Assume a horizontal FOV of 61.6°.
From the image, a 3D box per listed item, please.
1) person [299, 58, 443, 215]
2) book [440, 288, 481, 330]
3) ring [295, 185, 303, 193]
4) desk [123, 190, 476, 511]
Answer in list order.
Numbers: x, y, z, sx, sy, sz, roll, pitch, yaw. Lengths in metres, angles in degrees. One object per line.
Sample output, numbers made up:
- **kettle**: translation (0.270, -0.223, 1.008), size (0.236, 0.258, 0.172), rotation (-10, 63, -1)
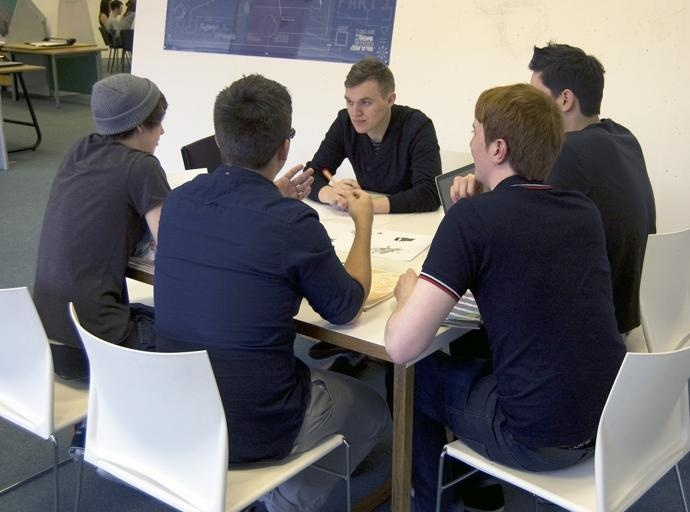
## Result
- **person**: translation (0.154, -0.652, 2.993), size (0.805, 0.696, 0.731), rotation (12, 27, 32)
- **book**: translation (0.344, 0.157, 1.699), size (0.103, 0.033, 0.108), rotation (-5, 15, 9)
- **ring**: translation (-0.179, -0.265, 2.278), size (0.018, 0.026, 0.026), rotation (-4, -2, 7)
- **desk**: translation (-0.038, 0.251, 2.220), size (1.117, 0.736, 1.093), rotation (18, 29, 37)
